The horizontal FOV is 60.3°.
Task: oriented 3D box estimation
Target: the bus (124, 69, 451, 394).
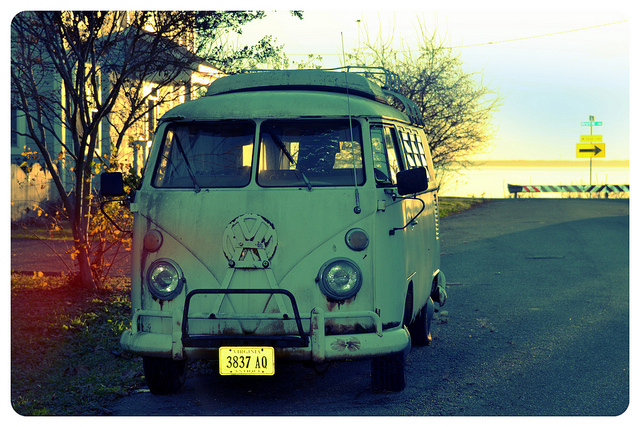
[{"bbox_3d":[-0.002,0.218,8.589,2.848,2.688,5.003,-1,-3,11],"label":"bus"}]
